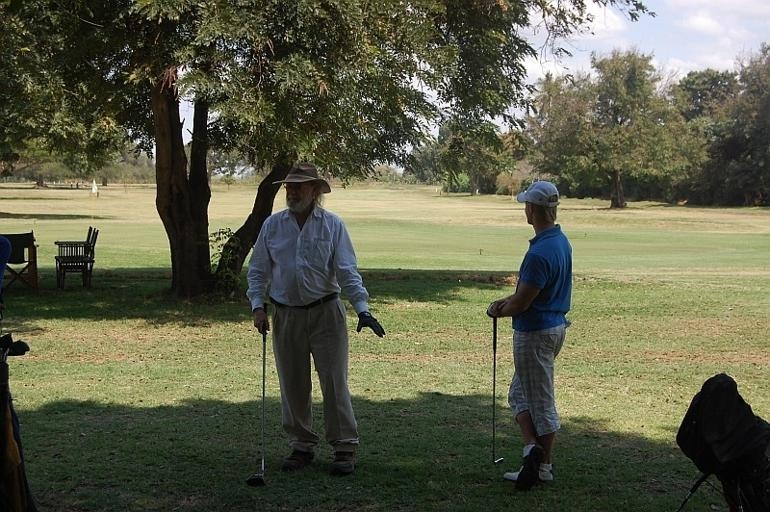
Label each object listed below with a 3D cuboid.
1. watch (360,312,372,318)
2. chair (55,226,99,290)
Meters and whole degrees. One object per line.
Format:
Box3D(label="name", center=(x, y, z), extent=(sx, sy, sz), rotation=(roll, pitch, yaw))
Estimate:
Box3D(label="watch", center=(-0.235, 0.753, 11.410), extent=(0.082, 0.054, 0.078), rotation=(1, 0, 15))
Box3D(label="chair", center=(-7.613, 0.107, 22.358), extent=(0.986, 1.353, 1.688), rotation=(-4, 9, -17))
